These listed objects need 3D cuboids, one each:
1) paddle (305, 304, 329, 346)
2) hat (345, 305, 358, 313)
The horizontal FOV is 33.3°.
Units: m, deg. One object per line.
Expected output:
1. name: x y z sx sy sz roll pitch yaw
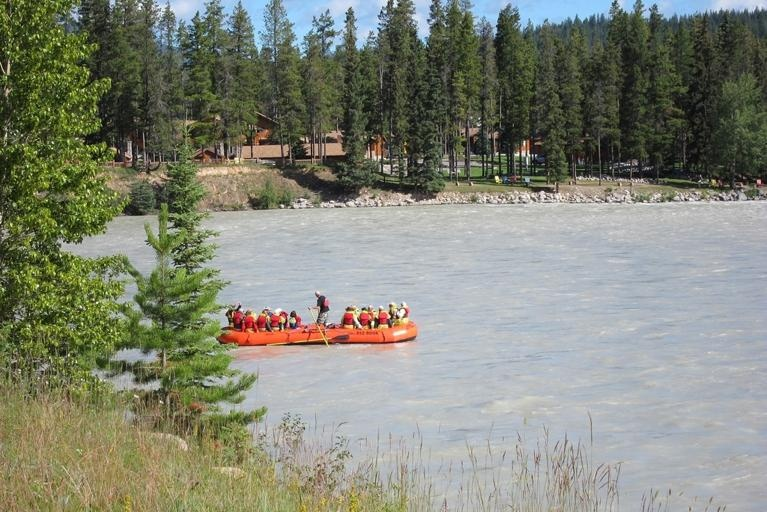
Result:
1. paddle: -3.658 3.997 75.151 0.900 2.965 0.253 -7 -39 -11
2. hat: -1.822 3.278 76.187 0.581 0.298 0.694 1 0 -6
